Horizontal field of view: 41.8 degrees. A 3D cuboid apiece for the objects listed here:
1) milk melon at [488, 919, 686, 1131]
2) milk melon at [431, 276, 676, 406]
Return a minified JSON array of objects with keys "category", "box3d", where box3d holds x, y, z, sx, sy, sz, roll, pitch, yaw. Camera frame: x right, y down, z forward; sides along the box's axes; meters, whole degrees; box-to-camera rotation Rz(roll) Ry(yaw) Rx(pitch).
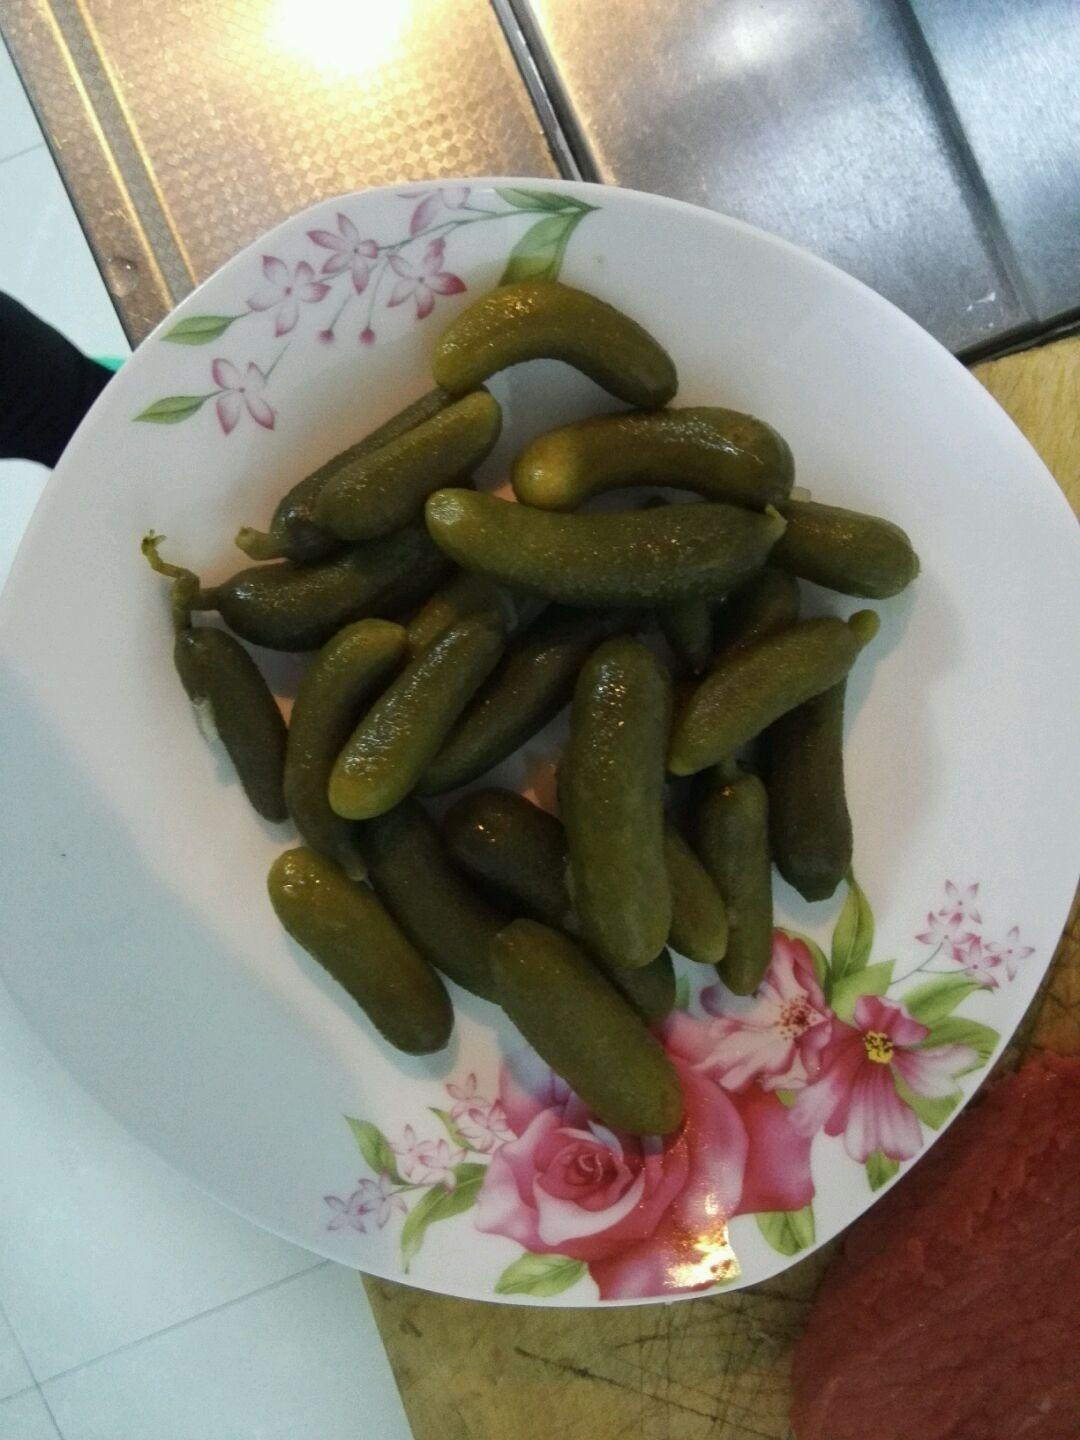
[{"category":"milk melon","box3d":[0.033,0.231,1.105,0.095,0.072,0.199,-45,96,-4]},{"category":"milk melon","box3d":[0.012,-0.276,1.033,0.173,0.057,0.087,1,83,3]}]
